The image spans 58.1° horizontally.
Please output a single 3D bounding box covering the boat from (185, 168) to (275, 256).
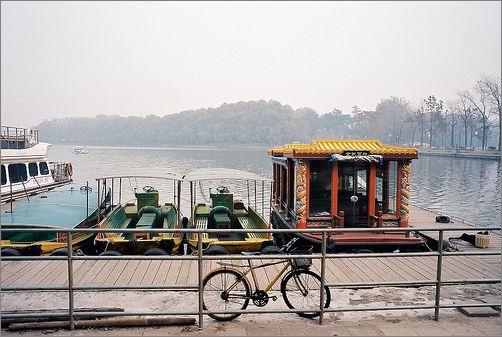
[{"bbox_3d":[-1.181,1.673,18.443,3.113,3.062,6.917,1,5,-9],"label":"boat"}]

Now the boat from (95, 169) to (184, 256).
[{"bbox_3d":[-4.788,1.842,19.538,3.255,3.029,6.836,0,1,-4],"label":"boat"}]

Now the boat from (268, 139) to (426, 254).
[{"bbox_3d":[2.880,0.374,16.884,7.097,2.357,2.771,6,3,-24],"label":"boat"}]

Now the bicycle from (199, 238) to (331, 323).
[{"bbox_3d":[0.237,2.266,9.338,2.563,1.412,1.244,-2,4,-2],"label":"bicycle"}]
